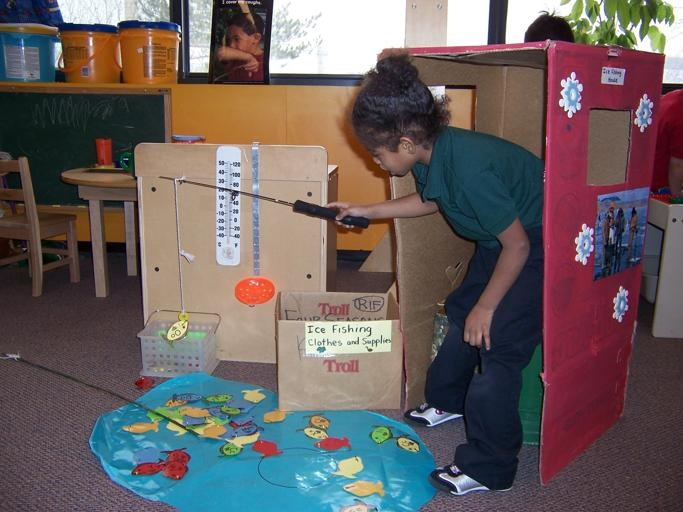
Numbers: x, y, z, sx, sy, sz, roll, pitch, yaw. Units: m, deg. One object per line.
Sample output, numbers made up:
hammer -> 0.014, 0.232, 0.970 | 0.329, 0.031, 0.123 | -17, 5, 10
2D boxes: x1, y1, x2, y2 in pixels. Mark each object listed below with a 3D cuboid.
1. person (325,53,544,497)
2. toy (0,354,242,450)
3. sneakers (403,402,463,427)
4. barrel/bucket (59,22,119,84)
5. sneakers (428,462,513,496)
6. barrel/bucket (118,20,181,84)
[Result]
person -> 0.349, 0.051, 1.826 | 0.615, 1.390, 0.381 | 4, 13, 14
toy -> -0.836, 0.565, 2.112 | 0.781, 0.106, 0.043 | 26, 48, 13
sneakers -> 0.334, 0.594, 2.109 | 0.224, 0.083, 0.078 | 2, 13, -8
barrel/bucket -> -1.567, -1.285, 3.614 | 0.418, 0.372, 0.386 | 2, 20, -1
sneakers -> 0.425, 0.728, 1.851 | 0.286, 0.113, 0.100 | 5, 14, -4
barrel/bucket -> -1.179, -1.256, 3.540 | 0.412, 0.350, 0.416 | 1, 17, 0
